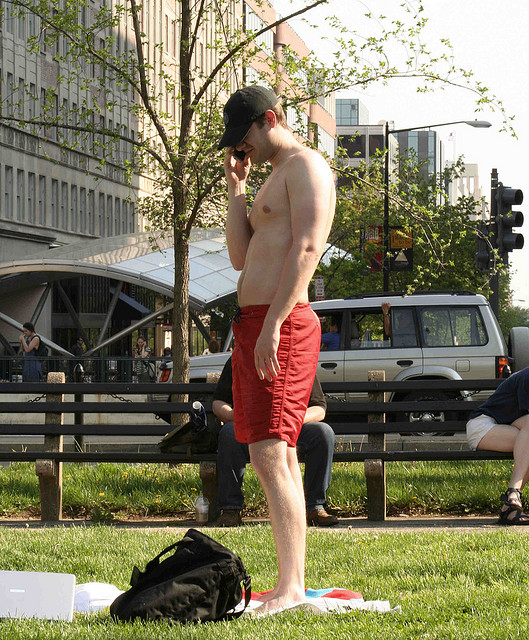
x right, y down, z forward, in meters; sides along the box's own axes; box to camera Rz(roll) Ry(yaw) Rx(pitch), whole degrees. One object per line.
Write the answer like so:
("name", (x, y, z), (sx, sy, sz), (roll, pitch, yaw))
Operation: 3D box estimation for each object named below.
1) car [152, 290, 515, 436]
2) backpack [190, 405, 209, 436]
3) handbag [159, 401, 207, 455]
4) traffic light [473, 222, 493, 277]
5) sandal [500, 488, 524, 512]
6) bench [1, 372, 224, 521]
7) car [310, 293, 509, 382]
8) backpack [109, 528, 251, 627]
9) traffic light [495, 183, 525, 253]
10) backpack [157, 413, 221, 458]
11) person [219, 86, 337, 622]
("car", (0.955, 0.228, 19.063), (3.861, 1.925, 1.933), (2, -5, 7))
("backpack", (-0.522, 0.766, 12.322), (0.142, 0.214, 0.069), (4, -1, 37))
("handbag", (-0.648, 0.918, 12.552), (0.342, 0.195, 0.443), (1, -14, -42))
("traffic light", (2.344, -0.751, 17.011), (0.190, 0.530, 0.172), (-6, -21, 31))
("sandal", (1.783, 1.286, 11.613), (0.080, 0.113, 0.230), (6, -2, -43))
("bench", (-1.900, 1.035, 16.600), (2.806, 0.940, 9.576), (1, -1, -2))
("car", (1.775, 0.183, 19.101), (1.874, 1.130, 1.118), (2, -4, 10))
("backpack", (-0.452, 1.450, 8.939), (0.581, 0.318, 0.472), (-16, 26, -23))
("traffic light", (2.501, -1.063, 16.552), (0.351, 0.658, 0.301), (1, 0, 24))
("backpack", (-0.582, 0.885, 12.401), (0.390, 0.193, 0.322), (-1, -1, 14))
("person", (0.047, 0.150, 9.305), (0.599, 2.600, 0.855), (0, 0, -29))
